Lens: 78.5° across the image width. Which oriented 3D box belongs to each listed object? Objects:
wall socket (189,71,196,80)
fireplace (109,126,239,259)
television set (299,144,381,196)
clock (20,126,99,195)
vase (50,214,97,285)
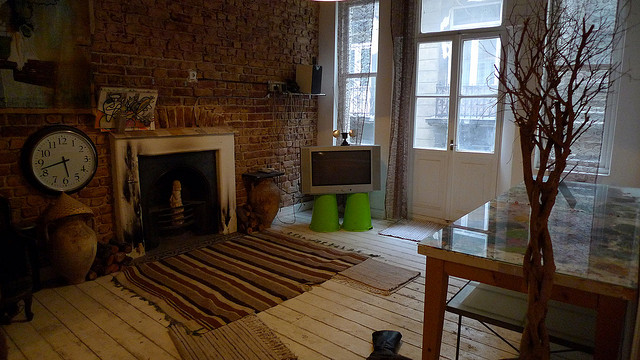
[{"bbox_3d":[-1.727,-1.428,5.296,0.026,0.086,0.099,10,8,42],"label":"wall socket"},{"bbox_3d":[-1.992,0.094,5.331,0.541,1.554,1.795,4,9,36],"label":"fireplace"},{"bbox_3d":[0.284,-0.175,5.780,1.014,0.774,0.481,1,0,-18],"label":"television set"},{"bbox_3d":[-2.980,-0.228,4.415,0.824,0.794,0.116,-6,9,-38],"label":"clock"},{"bbox_3d":[-2.762,0.790,4.379,0.430,0.772,0.173,-7,13,-30],"label":"vase"}]
